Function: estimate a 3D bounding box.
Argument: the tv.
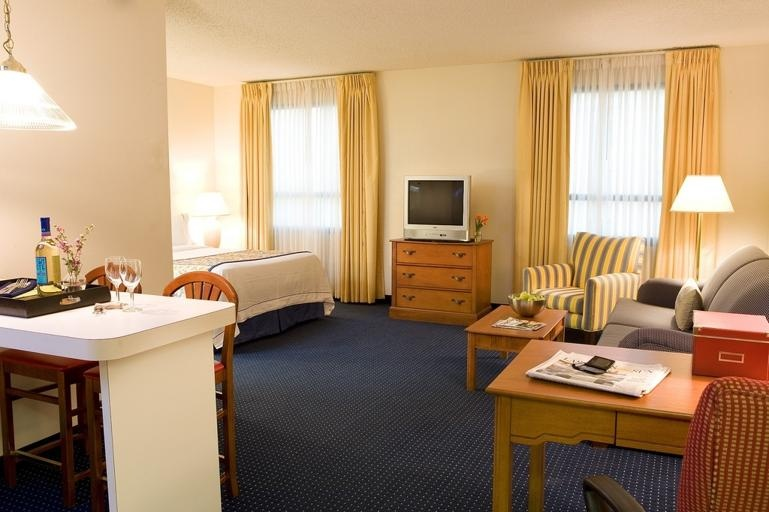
[{"bbox_3d":[0.719,-0.606,6.774,0.872,0.803,0.502,4,8,25],"label":"tv"}]

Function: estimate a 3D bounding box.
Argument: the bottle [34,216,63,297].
[{"bbox_3d":[-1.861,-0.023,2.991,0.117,0.381,0.323,-8,14,-31],"label":"bottle"}]

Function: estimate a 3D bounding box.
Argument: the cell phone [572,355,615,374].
[{"bbox_3d":[0.965,0.501,2.520,0.100,0.022,0.174,7,11,25],"label":"cell phone"}]

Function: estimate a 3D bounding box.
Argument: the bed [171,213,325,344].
[{"bbox_3d":[-1.922,0.276,6.712,2.331,0.945,1.582,3,8,43],"label":"bed"}]

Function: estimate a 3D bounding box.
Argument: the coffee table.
[{"bbox_3d":[1.199,0.798,4.866,0.630,0.502,1.083,1,8,27],"label":"coffee table"}]

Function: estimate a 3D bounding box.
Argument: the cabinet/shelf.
[{"bbox_3d":[0.688,0.290,6.774,1.134,0.955,0.655,3,5,19],"label":"cabinet/shelf"}]

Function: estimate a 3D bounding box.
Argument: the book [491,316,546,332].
[{"bbox_3d":[1.129,0.558,4.562,0.401,0.044,0.320,8,14,33],"label":"book"}]

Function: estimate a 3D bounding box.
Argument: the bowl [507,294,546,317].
[{"bbox_3d":[1.225,0.417,4.690,0.220,0.128,0.214,-2,3,0],"label":"bowl"}]

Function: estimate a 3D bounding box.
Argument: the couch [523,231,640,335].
[{"bbox_3d":[2.186,0.300,5.896,1.028,1.056,0.859,-4,9,-35],"label":"couch"}]
